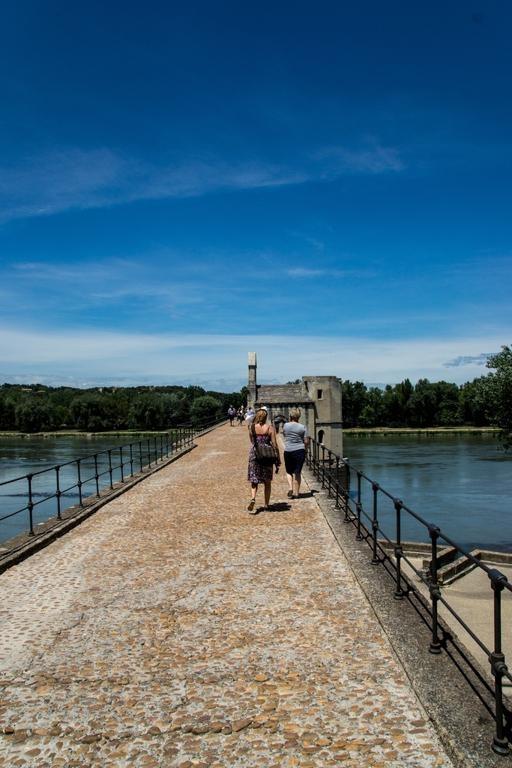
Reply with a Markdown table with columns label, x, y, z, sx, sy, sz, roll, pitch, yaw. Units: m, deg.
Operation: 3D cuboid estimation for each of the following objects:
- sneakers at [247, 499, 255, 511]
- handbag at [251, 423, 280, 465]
| label | x | y | z | sx | sy | sz | roll | pitch | yaw |
| --- | --- | --- | --- | --- | --- | --- | --- | --- | --- |
| sneakers | -0.075 | 2.140 | 10.396 | 0.128 | 0.271 | 0.115 | 7 | 28 | -2 |
| handbag | 0.175 | 1.103 | 10.496 | 0.491 | 0.685 | 0.407 | 3 | -2 | -10 |
